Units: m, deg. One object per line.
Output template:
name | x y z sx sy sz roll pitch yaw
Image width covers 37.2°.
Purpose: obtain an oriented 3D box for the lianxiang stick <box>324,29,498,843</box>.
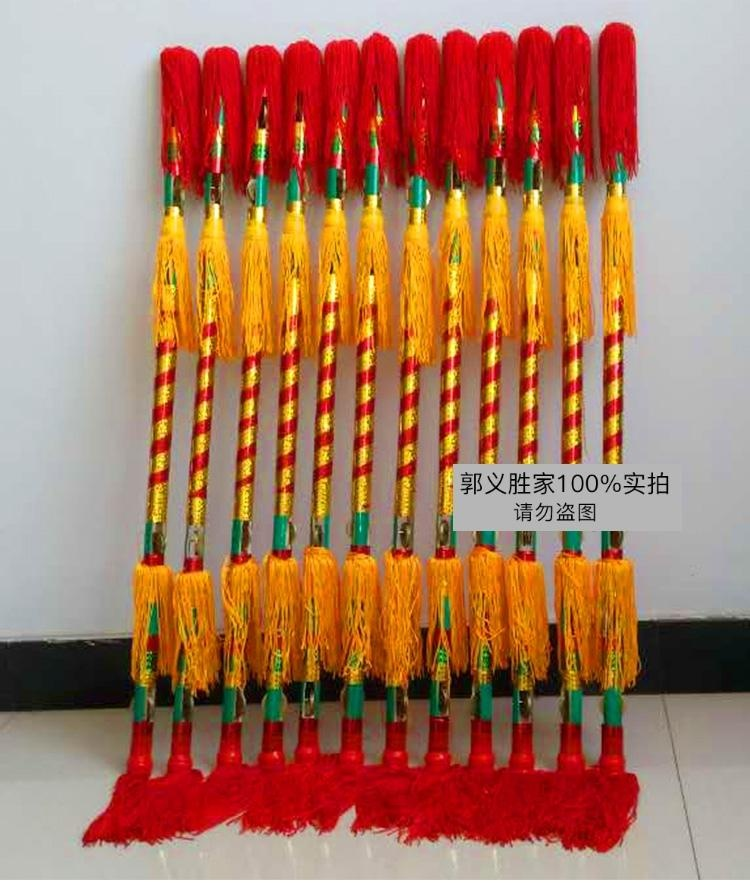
lianxiang stick | 0.078 -0.007 2.041 0.219 1.562 0.226 2 0 0
